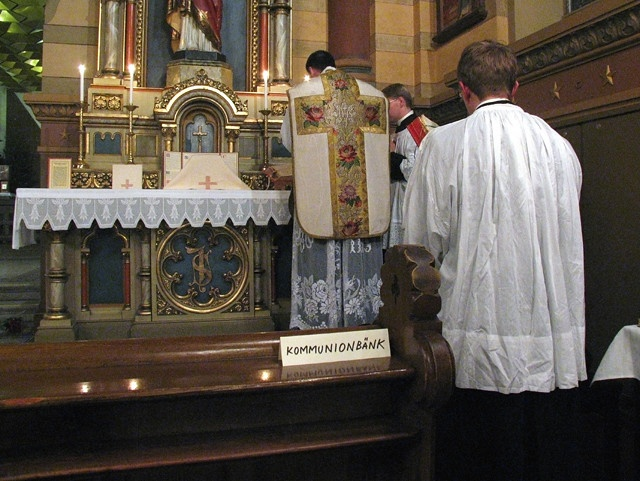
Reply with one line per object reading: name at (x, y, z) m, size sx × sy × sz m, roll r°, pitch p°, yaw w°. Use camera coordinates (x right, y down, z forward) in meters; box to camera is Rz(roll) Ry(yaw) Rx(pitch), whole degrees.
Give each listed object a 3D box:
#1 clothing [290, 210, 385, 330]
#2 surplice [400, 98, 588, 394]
clothing at (0.111, 0.199, 5.022) m, size 0.698 × 0.977 × 0.274 m, roll 2°, pitch -8°, yaw -10°
surplice at (0.790, 0.009, 3.537) m, size 0.804 × 1.309 × 0.434 m, roll -3°, pitch 6°, yaw 15°
